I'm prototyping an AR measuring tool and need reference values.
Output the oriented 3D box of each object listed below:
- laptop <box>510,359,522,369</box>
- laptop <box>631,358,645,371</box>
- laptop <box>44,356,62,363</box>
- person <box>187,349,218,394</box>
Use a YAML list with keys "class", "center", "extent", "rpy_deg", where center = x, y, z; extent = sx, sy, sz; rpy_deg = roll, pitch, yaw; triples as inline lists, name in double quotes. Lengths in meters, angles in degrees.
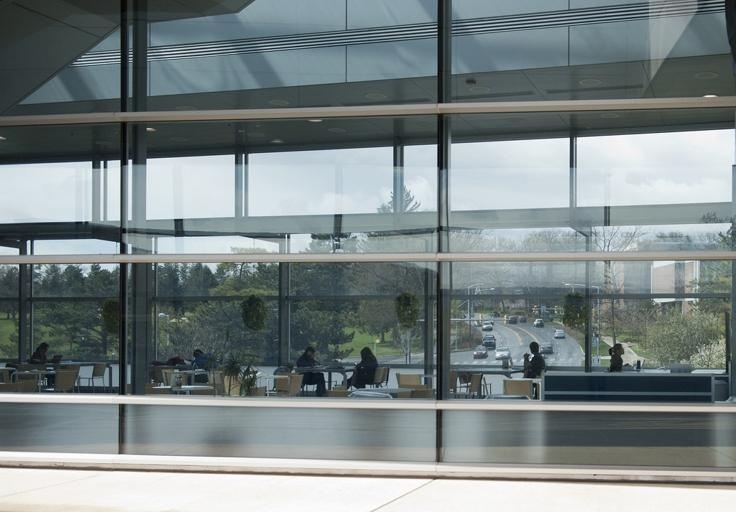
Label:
- class: "laptop"
  center: [2.134, 1.546, 15.981]
  extent: [0.174, 0.091, 0.165]
  rpy_deg: [-3, -6, 21]
- class: "laptop"
  center: [3.850, 1.557, 15.855]
  extent: [0.179, 0.277, 0.165]
  rpy_deg: [0, -5, 14]
- class: "laptop"
  center: [-4.679, 1.532, 16.542]
  extent: [0.175, 0.107, 0.106]
  rpy_deg: [0, -9, -2]
- class: "person"
  center: [-2.561, 1.639, 16.376]
  extent: [0.490, 0.758, 0.452]
  rpy_deg: [-2, -5, 12]
